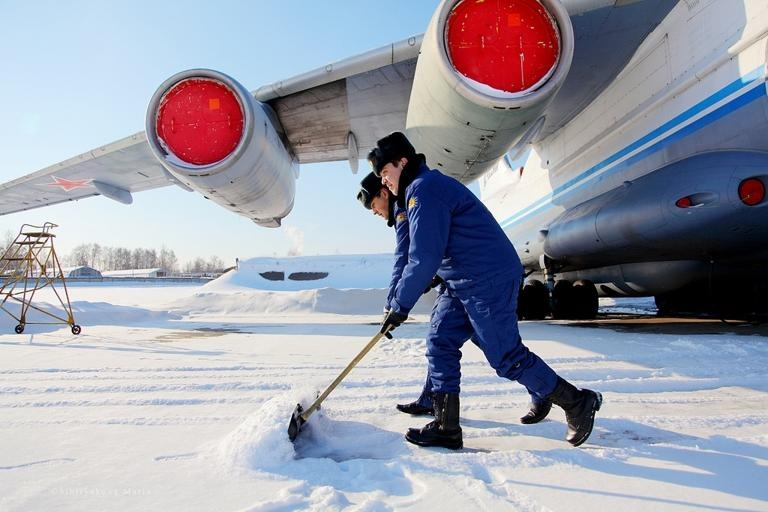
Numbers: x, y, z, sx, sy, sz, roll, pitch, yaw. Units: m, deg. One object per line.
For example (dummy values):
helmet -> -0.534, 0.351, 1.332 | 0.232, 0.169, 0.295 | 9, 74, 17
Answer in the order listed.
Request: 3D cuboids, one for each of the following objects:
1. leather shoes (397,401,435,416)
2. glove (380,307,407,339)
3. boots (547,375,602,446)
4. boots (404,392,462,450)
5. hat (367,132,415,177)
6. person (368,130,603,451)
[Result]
leather shoes -> 0.280, 1.364, 4.471 | 0.371, 0.126, 0.113 | 2, -5, 9
glove -> 0.088, 0.540, 4.105 | 0.210, 0.246, 0.103 | 26, 19, 8
boots -> 1.529, 1.275, 3.995 | 0.517, 0.447, 0.205 | 17, 12, -10
boots -> 0.539, 1.371, 4.149 | 0.621, 0.448, 0.276 | 5, -7, 11
hat -> 0.062, -0.882, 4.330 | 0.439, 0.282, 0.304 | -21, -5, 11
person -> 0.685, 0.251, 4.133 | 1.675, 2.567, 0.503 | 1, -6, -5
